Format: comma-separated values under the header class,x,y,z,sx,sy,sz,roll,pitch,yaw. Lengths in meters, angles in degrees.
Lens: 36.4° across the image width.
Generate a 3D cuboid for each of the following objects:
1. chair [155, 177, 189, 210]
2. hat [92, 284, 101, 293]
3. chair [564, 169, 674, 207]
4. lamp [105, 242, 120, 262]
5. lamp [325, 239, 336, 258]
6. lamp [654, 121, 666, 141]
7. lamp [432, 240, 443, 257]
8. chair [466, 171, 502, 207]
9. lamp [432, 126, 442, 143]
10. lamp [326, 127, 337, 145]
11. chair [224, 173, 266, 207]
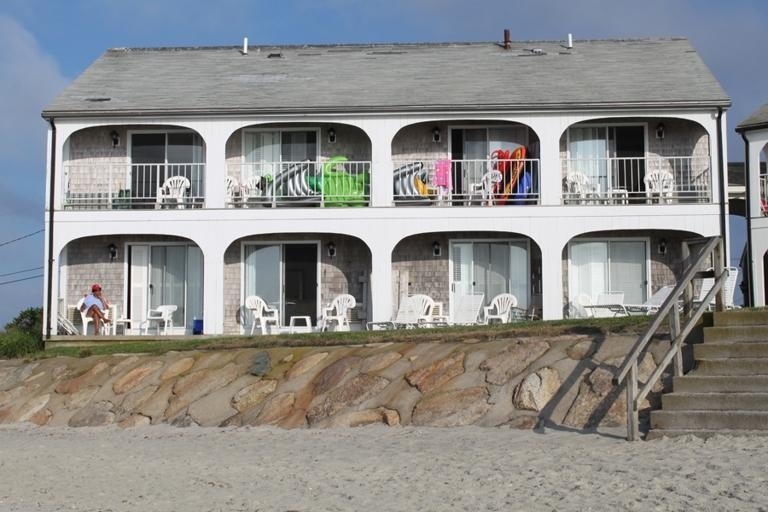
class,x,y,z,sx,sy,sz,roll,pitch,yaw
chair,-6.360,-1.893,35.238,0.863,1.386,0.984,1,-1,4
hat,-8.594,0.991,34.734,0.274,0.164,0.219,-7,-4,10
chair,6.879,-2.023,34.583,3.227,1.115,1.609,-1,-1,10
lamp,-8.339,-0.068,35.928,0.436,0.696,0.439,1,-4,-6
lamp,-1.639,-0.156,35.726,0.409,0.665,0.393,0,-4,-2
lamp,8.334,-3.743,35.527,0.298,0.527,0.228,-1,-1,10
lamp,1.569,-0.193,35.595,0.367,0.540,0.371,0,-3,-2
chair,2.937,-1.968,34.979,0.983,1.417,0.911,1,0,2
lamp,1.586,-3.690,35.823,0.300,0.498,0.236,-1,-1,-2
lamp,-1.630,-3.668,35.979,0.298,0.472,0.240,-1,-1,-5
chair,-4.213,-1.972,35.418,0.899,1.345,0.953,0,-9,-3
